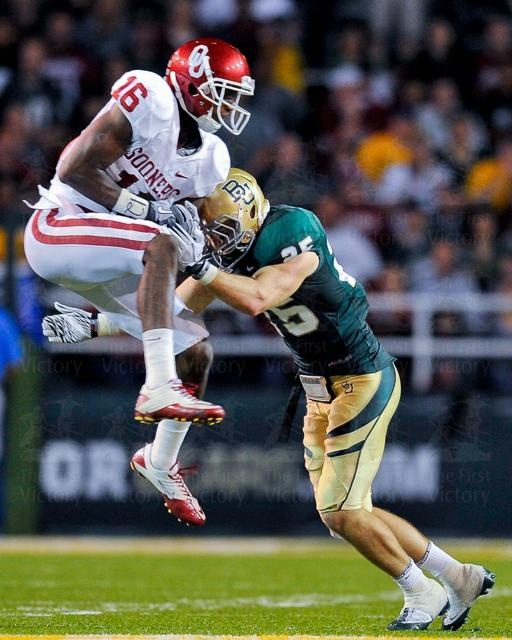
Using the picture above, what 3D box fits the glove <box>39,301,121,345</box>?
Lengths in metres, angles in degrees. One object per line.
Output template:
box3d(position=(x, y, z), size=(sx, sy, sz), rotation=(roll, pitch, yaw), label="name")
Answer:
box3d(position=(-0.697, 0.004, 3.364), size=(0.300, 0.087, 0.076), rotation=(-2, 11, -25), label="glove")

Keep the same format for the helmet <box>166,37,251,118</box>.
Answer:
box3d(position=(-0.219, -0.856, 3.019), size=(0.385, 0.232, 0.236), rotation=(-9, 17, -1), label="helmet")

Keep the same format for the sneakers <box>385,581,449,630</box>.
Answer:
box3d(position=(0.591, 1.045, 3.203), size=(0.117, 0.119, 0.339), rotation=(-11, 0, 41), label="sneakers")

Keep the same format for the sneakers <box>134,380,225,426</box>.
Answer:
box3d(position=(-0.244, 0.255, 2.627), size=(0.339, 0.105, 0.117), rotation=(2, 77, 11), label="sneakers")

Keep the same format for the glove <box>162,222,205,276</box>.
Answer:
box3d(position=(-0.233, -0.235, 2.832), size=(0.117, 0.131, 0.145), rotation=(4, 34, -5), label="glove")

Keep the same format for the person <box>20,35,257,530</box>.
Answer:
box3d(position=(-0.455, -0.098, 3.021), size=(0.723, 1.601, 1.258), rotation=(6, 35, -4), label="person")

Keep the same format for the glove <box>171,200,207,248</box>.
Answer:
box3d(position=(-0.234, -0.327, 2.902), size=(0.089, 0.104, 0.163), rotation=(-25, 71, -15), label="glove")
